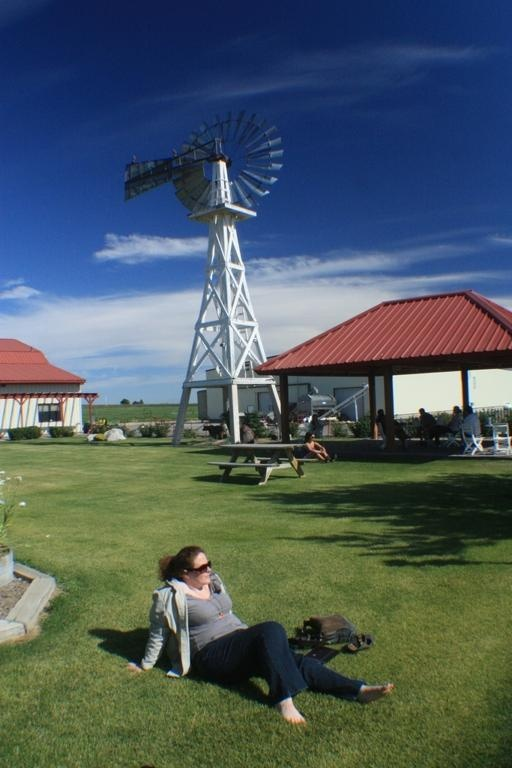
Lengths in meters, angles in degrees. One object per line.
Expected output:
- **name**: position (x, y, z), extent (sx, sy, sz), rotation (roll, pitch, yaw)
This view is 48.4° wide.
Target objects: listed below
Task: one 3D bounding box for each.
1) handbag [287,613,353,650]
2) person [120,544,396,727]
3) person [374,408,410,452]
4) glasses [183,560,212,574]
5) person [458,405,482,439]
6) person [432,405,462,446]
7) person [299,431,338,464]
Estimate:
- **handbag**: position (0.505, 1.945, 4.526), extent (0.349, 0.140, 0.260), rotation (1, -3, -7)
- **person**: position (-0.030, 1.753, 4.013), extent (0.872, 0.820, 1.684), rotation (-12, 9, -44)
- **person**: position (5.129, 1.779, 22.095), extent (0.734, 0.872, 1.879), rotation (-22, -35, 25)
- **glasses**: position (-0.450, 1.378, 4.302), extent (0.112, 0.034, 0.109), rotation (-16, -9, 29)
- **person**: position (6.979, 1.193, 18.923), extent (0.507, 1.088, 3.074), rotation (-3, -6, 19)
- **person**: position (6.491, 1.388, 19.619), extent (1.014, 1.329, 1.706), rotation (-3, -6, 18)
- **person**: position (1.839, 1.963, 17.884), extent (1.171, 1.197, 0.735), rotation (0, 4, 15)
